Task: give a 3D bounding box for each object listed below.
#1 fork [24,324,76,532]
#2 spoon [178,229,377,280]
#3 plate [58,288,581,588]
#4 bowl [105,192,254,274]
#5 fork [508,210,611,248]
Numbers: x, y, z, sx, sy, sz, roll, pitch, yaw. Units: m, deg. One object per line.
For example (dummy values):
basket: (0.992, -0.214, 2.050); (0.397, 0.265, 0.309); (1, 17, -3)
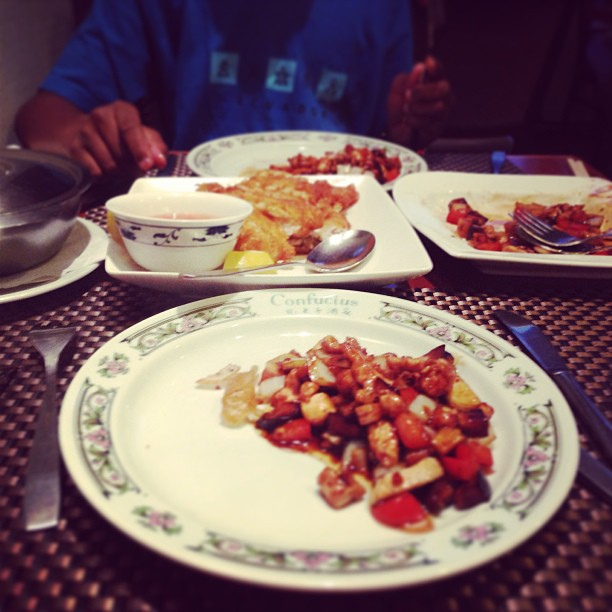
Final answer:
fork: (-0.401, 0.153, 0.897); (0.094, 0.018, 0.455); (-4, 30, -17)
spoon: (0.033, -0.147, 1.354); (0.654, 0.067, 0.138); (-9, 26, -26)
plate: (0.014, 0.150, 0.930); (0.778, 0.150, 0.635); (-6, 46, -7)
bowl: (-0.342, -0.155, 1.264); (0.301, 0.099, 0.271); (-1, 19, -29)
fork: (0.682, -0.208, 1.526); (0.041, 0.036, 0.265); (-38, 40, -16)
